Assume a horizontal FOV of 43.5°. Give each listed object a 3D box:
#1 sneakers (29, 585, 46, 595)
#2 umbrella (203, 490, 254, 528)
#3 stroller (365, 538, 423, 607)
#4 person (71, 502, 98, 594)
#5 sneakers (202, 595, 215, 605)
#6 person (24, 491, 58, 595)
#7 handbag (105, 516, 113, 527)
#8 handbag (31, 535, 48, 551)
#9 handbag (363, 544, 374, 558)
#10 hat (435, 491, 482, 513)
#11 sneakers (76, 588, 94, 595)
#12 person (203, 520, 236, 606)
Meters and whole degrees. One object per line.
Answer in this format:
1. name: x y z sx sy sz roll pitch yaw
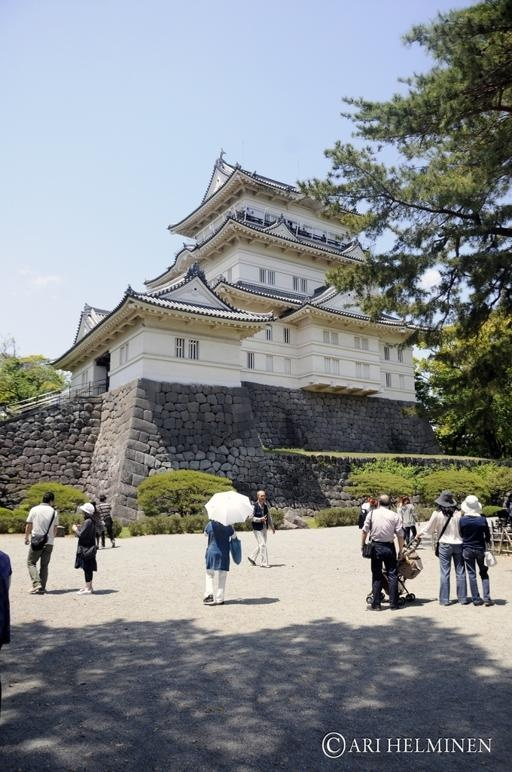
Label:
1. sneakers: -3.400 3.161 9.992 0.281 0.120 0.100 -3 -18 12
2. umbrella: -0.408 1.850 9.444 0.554 0.551 0.367 -1 -42 -8
3. stroller: 2.099 2.737 9.457 0.992 1.234 0.756 1 -12 2
4. person: -2.762 2.559 10.336 0.359 1.368 1.409 2 -8 -15
5. sneakers: -0.671 2.970 8.999 0.213 0.135 0.083 7 -23 -11
6. person: -3.506 2.483 10.404 0.451 1.543 1.335 2 -8 -19
7. handbag: -3.615 3.285 15.719 0.191 0.239 0.195 4 6 21
8. handbag: -3.390 2.424 9.982 0.240 0.232 0.187 11 -16 -18
9. handbag: 1.541 2.206 8.689 0.090 0.231 0.177 14 -17 -29
10. hat: 2.884 1.681 9.292 0.534 0.158 0.546 2 -8 1
11. sneakers: -2.624 3.099 9.844 0.227 0.105 0.303 2 -8 -16
12. person: -0.536 2.495 9.261 0.418 1.158 0.551 0 -7 -1
